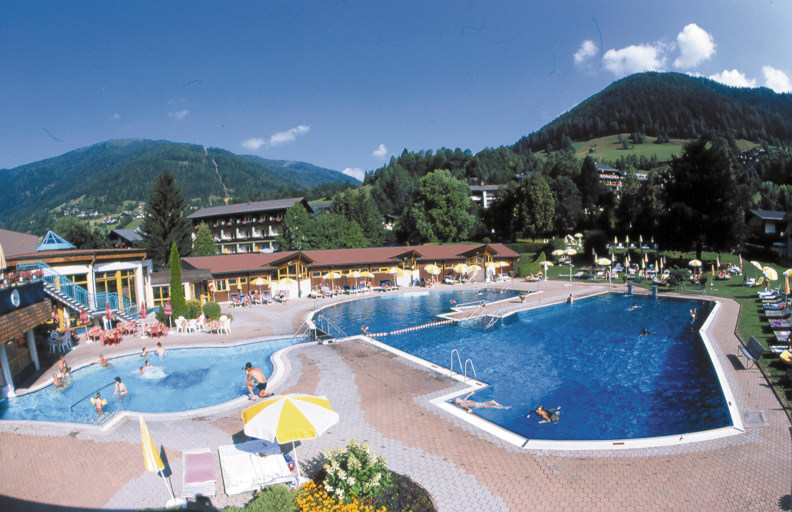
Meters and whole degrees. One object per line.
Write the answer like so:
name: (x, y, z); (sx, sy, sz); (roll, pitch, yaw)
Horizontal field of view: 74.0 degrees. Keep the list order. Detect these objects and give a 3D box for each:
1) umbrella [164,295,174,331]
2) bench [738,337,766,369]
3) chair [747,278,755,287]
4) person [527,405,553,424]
umbrella: (-20.495, 5.005, 47.224); (0.699, 2.627, 1.605); (-7, 15, -25)
bench: (24.530, 6.573, 36.207); (1.196, 1.433, 2.665); (7, 16, 28)
chair: (39.507, 2.935, 58.374); (0.952, 0.547, 1.377); (-5, 10, 32)
person: (8.809, 9.580, 31.756); (0.852, 0.358, 1.081); (3, 4, 2)
